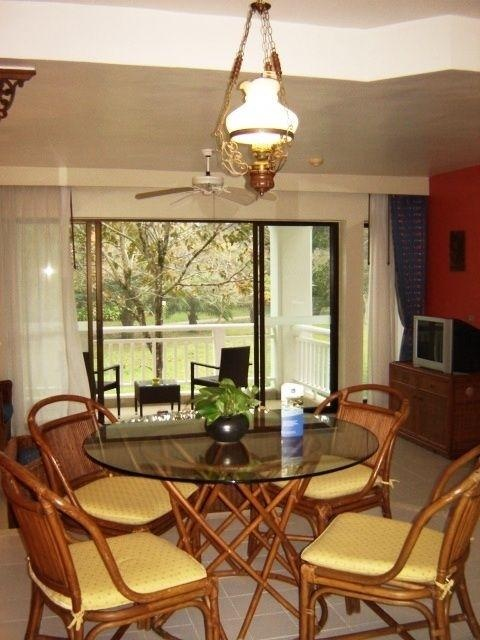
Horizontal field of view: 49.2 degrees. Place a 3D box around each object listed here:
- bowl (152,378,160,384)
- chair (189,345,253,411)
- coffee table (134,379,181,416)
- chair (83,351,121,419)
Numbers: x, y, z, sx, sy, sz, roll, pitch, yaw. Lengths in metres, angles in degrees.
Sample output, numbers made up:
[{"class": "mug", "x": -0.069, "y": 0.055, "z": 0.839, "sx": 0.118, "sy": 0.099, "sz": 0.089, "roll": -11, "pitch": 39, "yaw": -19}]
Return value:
[{"class": "bowl", "x": -0.878, "y": 0.639, "z": 5.512, "sx": 0.049, "sy": 0.034, "sz": 0.049, "roll": -1, "pitch": 3, "yaw": 0}, {"class": "chair", "x": -0.197, "y": 0.619, "z": 5.397, "sx": 0.579, "sy": 0.765, "sz": 0.584, "roll": 0, "pitch": 4, "yaw": -19}, {"class": "coffee table", "x": -0.865, "y": 0.763, "z": 5.484, "sx": 0.543, "sy": 0.414, "sz": 0.367, "roll": -1, "pitch": 15, "yaw": -11}, {"class": "chair", "x": -1.466, "y": 0.686, "z": 5.597, "sx": 0.474, "sy": 0.626, "sz": 0.488, "roll": -6, "pitch": -3, "yaw": 36}]
